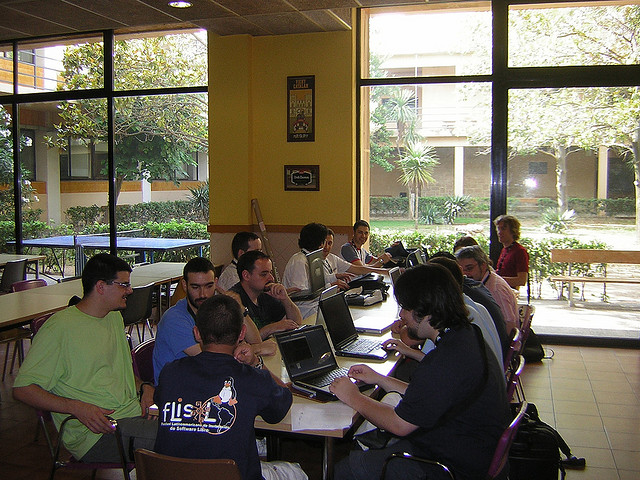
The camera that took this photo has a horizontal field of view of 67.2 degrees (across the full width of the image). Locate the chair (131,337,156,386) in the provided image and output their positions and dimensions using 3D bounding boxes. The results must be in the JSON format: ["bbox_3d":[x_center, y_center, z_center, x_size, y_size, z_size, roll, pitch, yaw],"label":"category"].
[{"bbox_3d":[-1.138,0.788,3.088,0.137,0.291,0.296,-3,8,-20],"label":"chair"}]

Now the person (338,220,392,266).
[{"bbox_3d":[0.548,0.113,6.003,0.753,0.645,0.553,3,6,26],"label":"person"}]

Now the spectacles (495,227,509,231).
[{"bbox_3d":[2.061,-0.126,5.474,0.072,0.045,0.163,-3,8,-19],"label":"spectacles"}]

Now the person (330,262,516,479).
[{"bbox_3d":[0.509,0.688,2.304,0.818,1.109,0.343,0,8,0],"label":"person"}]

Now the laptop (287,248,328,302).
[{"bbox_3d":[-0.052,0.343,4.455,0.404,0.473,0.507,2,6,21],"label":"laptop"}]

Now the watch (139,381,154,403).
[{"bbox_3d":[-1.072,0.920,2.928,0.082,0.105,0.041,15,-9,-27],"label":"watch"}]

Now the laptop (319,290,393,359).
[{"bbox_3d":[0.285,0.594,3.394,0.461,0.363,0.512,0,-1,24],"label":"laptop"}]

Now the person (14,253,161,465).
[{"bbox_3d":[-1.245,0.671,2.812,0.980,1.102,0.793,0,-10,-26],"label":"person"}]

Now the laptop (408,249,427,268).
[{"bbox_3d":[0.945,0.179,4.675,0.163,0.058,0.117,-26,1,35],"label":"laptop"}]

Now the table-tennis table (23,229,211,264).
[{"bbox_3d":[-3.134,0.112,7.476,2.868,0.540,0.606,2,8,13],"label":"table-tennis table"}]

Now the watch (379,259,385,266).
[{"bbox_3d":[0.777,0.276,6.112,0.078,0.077,0.021,-9,-3,3],"label":"watch"}]

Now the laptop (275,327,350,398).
[{"bbox_3d":[0.040,0.685,2.864,0.433,0.291,0.501,-2,-3,38],"label":"laptop"}]

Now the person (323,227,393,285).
[{"bbox_3d":[0.396,0.138,5.515,0.896,0.675,0.634,3,-2,22],"label":"person"}]
